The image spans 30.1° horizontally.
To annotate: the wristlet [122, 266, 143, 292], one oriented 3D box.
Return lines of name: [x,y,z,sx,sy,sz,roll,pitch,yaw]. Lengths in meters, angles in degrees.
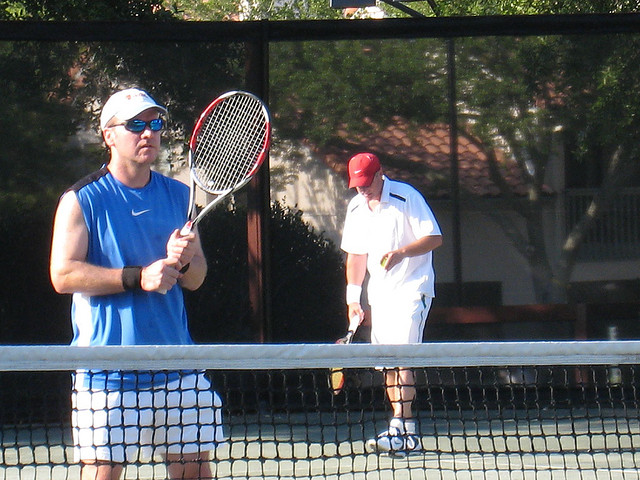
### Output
wristlet: [-1.181,0.233,7.453,0.069,0.142,0.109,0,0,-1]

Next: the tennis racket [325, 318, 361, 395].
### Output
tennis racket: [0.173,0.889,9.216,0.103,0.706,0.199,32,-20,-29]

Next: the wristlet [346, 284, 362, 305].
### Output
wristlet: [0.269,0.423,9.460,0.100,0.154,0.108,1,2,4]

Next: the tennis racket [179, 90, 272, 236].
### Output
tennis racket: [-0.654,-0.634,8.234,0.385,1.360,0.101,24,-9,-4]

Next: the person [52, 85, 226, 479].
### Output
person: [-1.173,0.266,7.586,1.045,2.484,0.417,0,2,-13]
